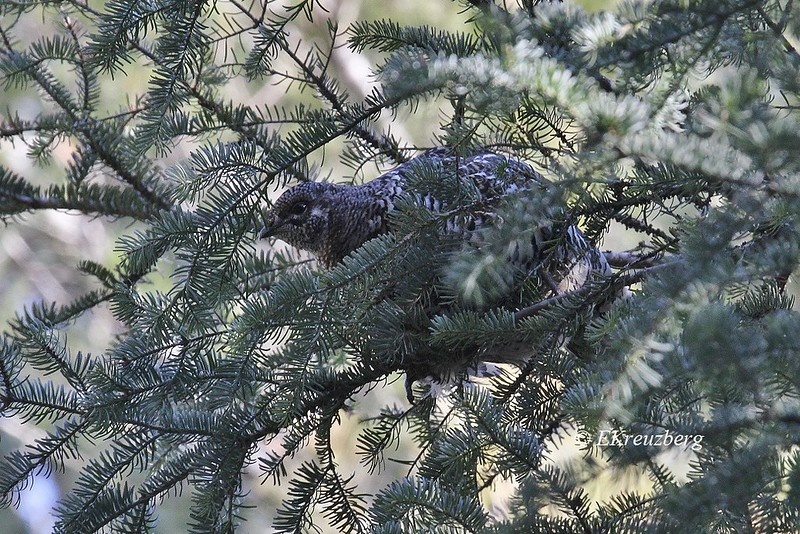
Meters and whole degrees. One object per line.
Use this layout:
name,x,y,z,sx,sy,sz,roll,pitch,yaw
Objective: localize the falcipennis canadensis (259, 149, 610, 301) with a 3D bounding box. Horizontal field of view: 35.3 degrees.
falcipennis canadensis,0.065,-0.111,6.648,1.814,0.834,0.886,-1,-70,16
